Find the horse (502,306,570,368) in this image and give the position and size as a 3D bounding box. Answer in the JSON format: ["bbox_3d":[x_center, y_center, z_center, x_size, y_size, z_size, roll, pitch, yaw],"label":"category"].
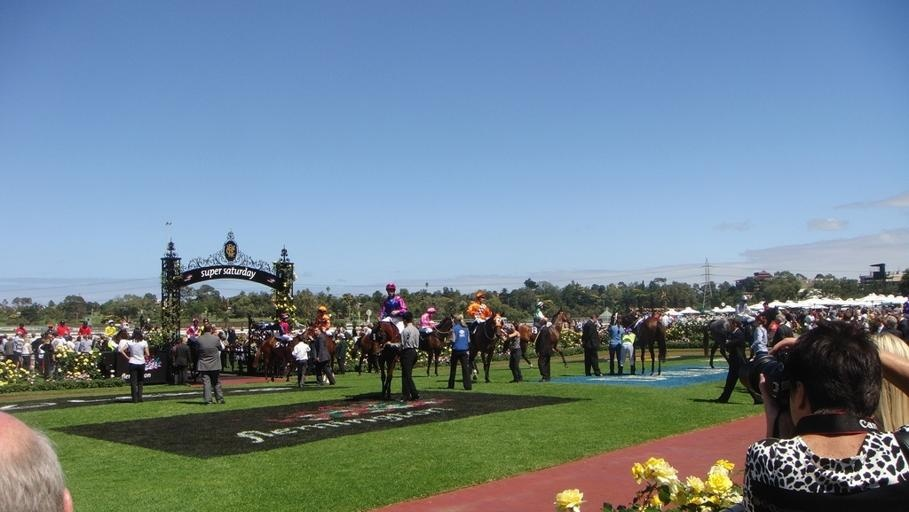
[{"bbox_3d":[4.068,3.806,27.212,1.021,2.640,4.191,11,-18,-36],"label":"horse"}]

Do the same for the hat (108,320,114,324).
[{"bbox_3d":[-19.069,3.632,32.185,0.314,0.274,0.140,2,-10,38],"label":"hat"}]

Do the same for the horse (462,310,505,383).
[{"bbox_3d":[1.068,3.604,22.897,1.107,2.363,3.747,5,-14,-18],"label":"horse"}]

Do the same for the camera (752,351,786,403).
[{"bbox_3d":[2.345,0.900,4.345,0.198,0.306,0.673,-2,-5,22],"label":"camera"}]
